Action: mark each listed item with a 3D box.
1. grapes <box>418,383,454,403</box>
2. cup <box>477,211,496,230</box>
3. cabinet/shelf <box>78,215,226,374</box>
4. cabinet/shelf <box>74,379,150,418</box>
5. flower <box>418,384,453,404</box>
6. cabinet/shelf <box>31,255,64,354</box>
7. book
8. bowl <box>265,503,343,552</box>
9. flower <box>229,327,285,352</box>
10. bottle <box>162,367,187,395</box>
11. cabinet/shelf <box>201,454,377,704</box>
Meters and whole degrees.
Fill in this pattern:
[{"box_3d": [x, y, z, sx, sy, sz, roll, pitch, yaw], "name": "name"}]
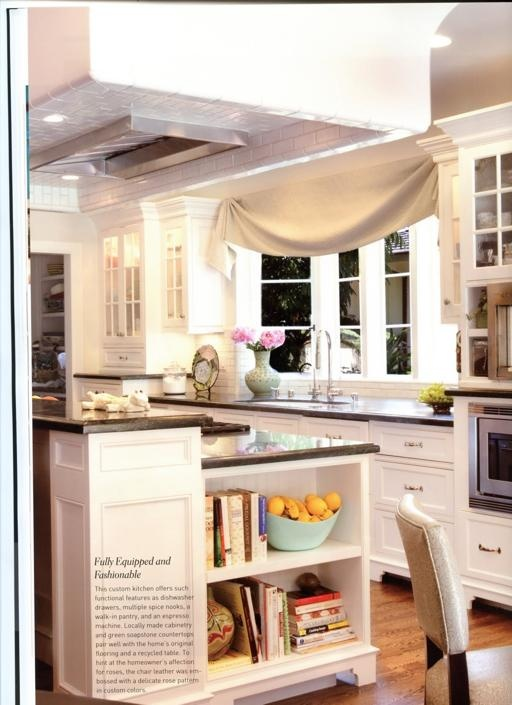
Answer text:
[{"box_3d": [1.112, 0.255, 3.772, 0.124, 0.078, 0.136, -1, -2, -6], "name": "grapes"}, {"box_3d": [1.297, -0.739, 3.401, 0.083, 0.070, 0.092, 0, -3, -4], "name": "cup"}, {"box_3d": [-0.942, -0.566, 5.816, 0.600, 1.531, 1.604, 3, -2, -38], "name": "cabinet/shelf"}, {"box_3d": [-0.883, 0.275, 3.828, 0.452, 0.169, 0.313, 1, 0, 37], "name": "cabinet/shelf"}, {"box_3d": [1.121, 0.257, 3.772, 0.135, 0.075, 0.133, -1, -2, -30], "name": "flower"}, {"box_3d": [-2.574, -0.610, 7.482, 0.307, 1.130, 0.966, -2, 1, -39], "name": "cabinet/shelf"}, {"box_3d": [0.066, 0.898, 2.502, 0.680, 0.511, 0.246, -2, 1, -32], "name": "book"}, {"box_3d": [0.173, 0.706, 2.501, 0.210, 0.110, 0.212, 2, -6, 0], "name": "bowl"}, {"box_3d": [0.033, -0.112, 5.358, 0.291, 0.165, 0.288, -1, 3, -10], "name": "flower"}, {"box_3d": [-0.712, 0.275, 5.634, 0.244, 0.277, 0.243, 1, -2, -3], "name": "bottle"}, {"box_3d": [0.121, 0.943, 2.446, 1.017, 0.936, 0.365, 2, -5, -34], "name": "cabinet/shelf"}]
